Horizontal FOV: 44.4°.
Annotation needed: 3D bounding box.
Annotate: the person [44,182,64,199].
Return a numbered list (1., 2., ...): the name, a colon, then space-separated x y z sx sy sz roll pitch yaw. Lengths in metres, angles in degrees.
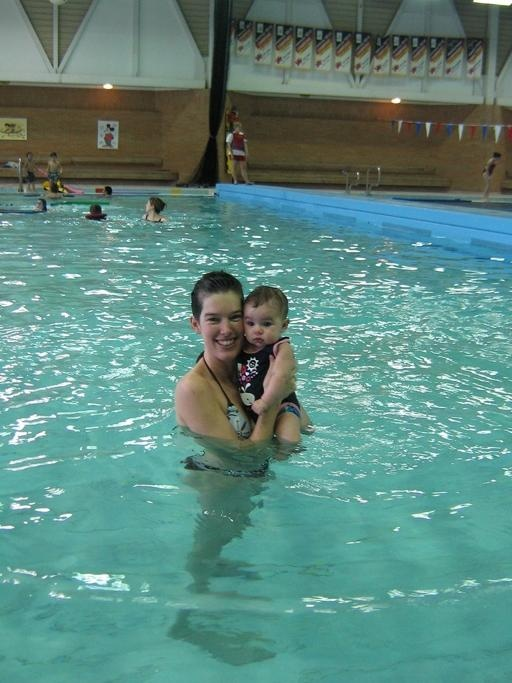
1. person: -4.000 -2.989 12.418 0.405 0.343 0.866 -4 26 -16

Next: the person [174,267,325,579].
1. person: -0.077 0.156 1.638 0.347 0.644 0.575 1 14 3

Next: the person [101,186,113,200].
1. person: -3.084 -3.084 13.001 0.169 0.244 0.806 -3 13 -14
